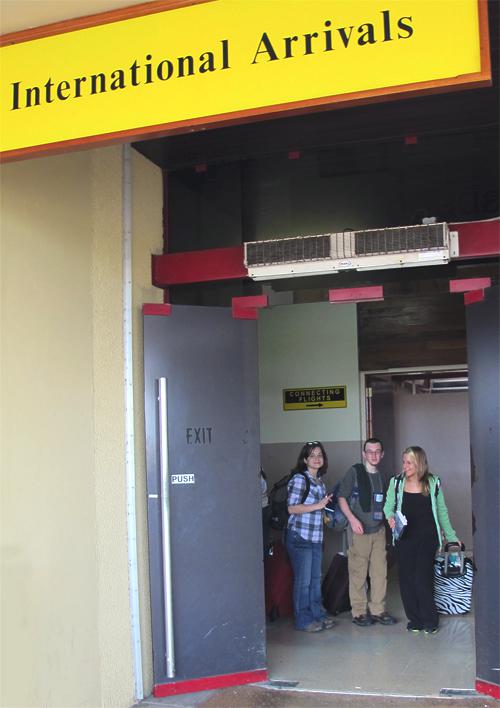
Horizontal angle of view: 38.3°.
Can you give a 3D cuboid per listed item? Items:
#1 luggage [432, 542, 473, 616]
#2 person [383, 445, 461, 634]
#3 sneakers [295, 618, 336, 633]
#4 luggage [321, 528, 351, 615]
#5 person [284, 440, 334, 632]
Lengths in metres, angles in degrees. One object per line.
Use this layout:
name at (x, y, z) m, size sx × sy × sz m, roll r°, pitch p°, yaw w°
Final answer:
luggage at (1.560, 1.667, 5.530) m, size 0.346 × 0.530 × 0.342 m, roll 0°, pitch 4°, yaw -16°
person at (1.185, 1.278, 5.027) m, size 0.498 × 1.258 × 0.444 m, roll -4°, pitch -7°, yaw 16°
sneakers at (0.492, 1.913, 5.171) m, size 0.095 × 0.124 × 0.271 m, roll -4°, pitch -13°, yaw 32°
luggage at (0.699, 1.664, 5.813) m, size 0.264 × 0.642 × 0.258 m, roll -4°, pitch -25°, yaw 26°
person at (0.436, 1.320, 5.348) m, size 0.336 × 1.317 × 0.408 m, roll -2°, pitch -7°, yaw 3°
